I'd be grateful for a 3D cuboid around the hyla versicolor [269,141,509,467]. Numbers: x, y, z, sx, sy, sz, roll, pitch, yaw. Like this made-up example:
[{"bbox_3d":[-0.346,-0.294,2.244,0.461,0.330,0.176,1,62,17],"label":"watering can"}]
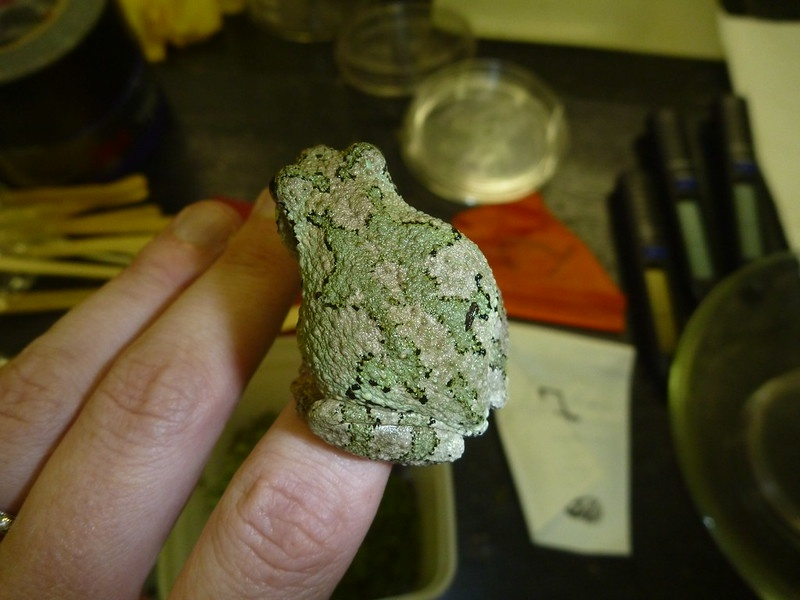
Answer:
[{"bbox_3d":[-0.015,-0.011,1.158,0.316,0.151,0.517,-11,70,-4],"label":"hyla versicolor"}]
